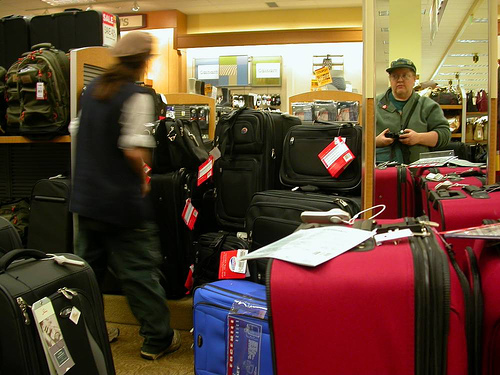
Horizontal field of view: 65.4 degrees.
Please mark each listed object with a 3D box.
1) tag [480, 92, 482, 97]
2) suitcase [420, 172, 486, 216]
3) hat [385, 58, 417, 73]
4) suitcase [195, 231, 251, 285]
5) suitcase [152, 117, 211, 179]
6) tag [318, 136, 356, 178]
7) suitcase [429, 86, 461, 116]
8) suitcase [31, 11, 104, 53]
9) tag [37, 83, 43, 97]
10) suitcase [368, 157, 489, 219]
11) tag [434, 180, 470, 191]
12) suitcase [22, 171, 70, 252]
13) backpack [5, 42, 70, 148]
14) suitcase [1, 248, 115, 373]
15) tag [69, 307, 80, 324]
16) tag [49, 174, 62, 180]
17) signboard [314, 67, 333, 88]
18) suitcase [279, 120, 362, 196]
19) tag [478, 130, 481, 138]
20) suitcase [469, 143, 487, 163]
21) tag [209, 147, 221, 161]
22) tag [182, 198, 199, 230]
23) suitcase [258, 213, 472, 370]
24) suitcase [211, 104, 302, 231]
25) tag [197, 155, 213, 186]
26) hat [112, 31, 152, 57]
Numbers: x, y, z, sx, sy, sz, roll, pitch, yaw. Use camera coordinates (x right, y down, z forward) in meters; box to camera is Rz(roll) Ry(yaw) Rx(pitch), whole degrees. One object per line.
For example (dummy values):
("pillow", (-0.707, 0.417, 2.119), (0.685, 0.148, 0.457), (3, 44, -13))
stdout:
("tag", (1.363, -0.547, 2.275), (0.014, 0.023, 0.012), (-1, -2, 7))
("suitcase", (1.049, 0.087, 2.035), (0.226, 0.277, 0.382), (2, 12, 12))
("hat", (1.088, -0.870, 2.761), (0.177, 0.110, 0.194), (1, 11, -1))
("suitcase", (-0.199, 0.498, 2.559), (0.198, 0.354, 0.453), (-9, 15, -44))
("suitcase", (-0.462, -0.341, 2.943), (0.409, 0.498, 0.453), (-3, 17, 5))
("tag", (0.534, -0.212, 2.438), (0.245, 0.062, 0.270), (-27, 1, 36))
("suitcase", (1.383, -0.609, 2.749), (0.150, 0.200, 0.327), (3, 11, 9))
("suitcase", (-1.334, -1.131, 2.843), (0.443, 0.427, 0.179), (4, 8, 20))
("tag", (-1.339, -0.613, 2.446), (0.049, 0.084, 0.006), (3, 10, 12))
("suitcase", (0.943, 0.008, 2.054), (0.355, 0.350, 0.199), (0, 5, 11))
("tag", (0.975, -0.021, 1.868), (0.201, 0.056, 0.061), (-2, 1, -10))
("suitcase", (-1.284, 0.168, 2.475), (0.332, 0.440, 0.134), (5, 11, 22))
("backpack", (-1.451, -0.616, 2.617), (0.368, 0.678, 0.563), (-7, 14, -39))
("suitcase", (-0.690, 0.467, 1.395), (0.342, 0.510, 0.326), (-2, 11, -15))
("tag", (-0.624, 0.445, 1.366), (0.040, 0.039, 0.039), (11, 6, 2))
("tag", (-1.290, -0.069, 2.523), (0.031, 0.044, 0.045), (1, -3, -4))
("signboard", (0.922, -1.382, 4.893), (0.194, 0.236, 0.256), (3, 11, 10))
("suitcase", (0.458, -0.176, 2.478), (0.484, 0.423, 0.271), (2, 1, 41))
("tag", (1.401, -0.323, 2.352), (0.008, 0.045, 0.039), (3, 11, 12))
("suitcase", (1.453, -0.210, 2.451), (0.125, 0.130, 0.094), (-5, 7, -18))
("tag", (-0.250, -0.244, 2.781), (0.081, 0.086, 0.060), (-35, 14, -12))
("tag", (-0.421, 0.172, 2.656), (0.018, 0.174, 0.158), (-6, -37, 23))
("suitcase", (0.304, 0.232, 1.123), (0.485, 0.502, 0.394), (-2, 1, 3))
("suitcase", (0.027, -0.115, 2.956), (0.664, 0.864, 0.645), (1, -1, 1))
("tag", (-0.325, -0.124, 2.711), (0.031, 0.193, 0.151), (31, -52, -29))
("hat", (-0.614, -0.730, 1.986), (0.124, 0.069, 0.180), (7, 34, 22))
